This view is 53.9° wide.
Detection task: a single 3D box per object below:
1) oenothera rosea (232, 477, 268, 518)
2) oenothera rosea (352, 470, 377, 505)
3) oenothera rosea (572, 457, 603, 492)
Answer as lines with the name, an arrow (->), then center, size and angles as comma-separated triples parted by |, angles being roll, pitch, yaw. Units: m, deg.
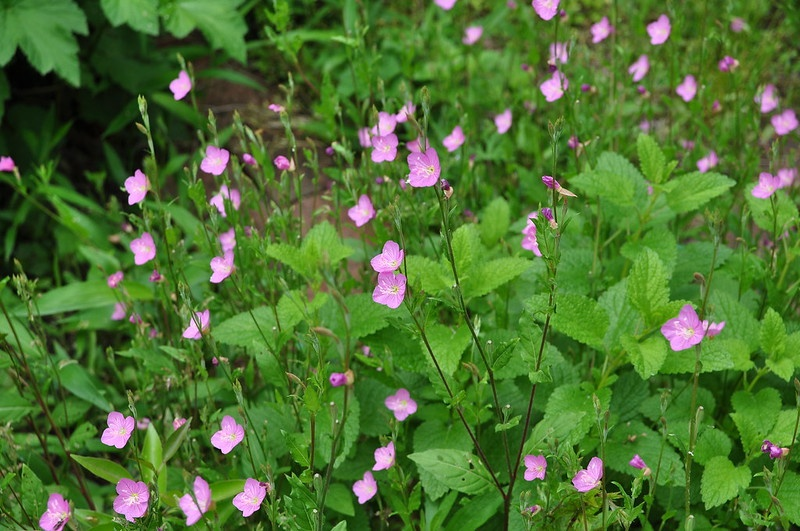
oenothera rosea -> -0.635, 0.993, 3.348 | 0.146, 0.065, 0.181 | -28, 69, 16
oenothera rosea -> -0.155, 1.031, 3.525 | 0.060, 0.148, 0.133 | -37, 36, 3
oenothera rosea -> 0.767, 0.863, 3.203 | 0.122, 0.069, 0.130 | -17, 47, 46
